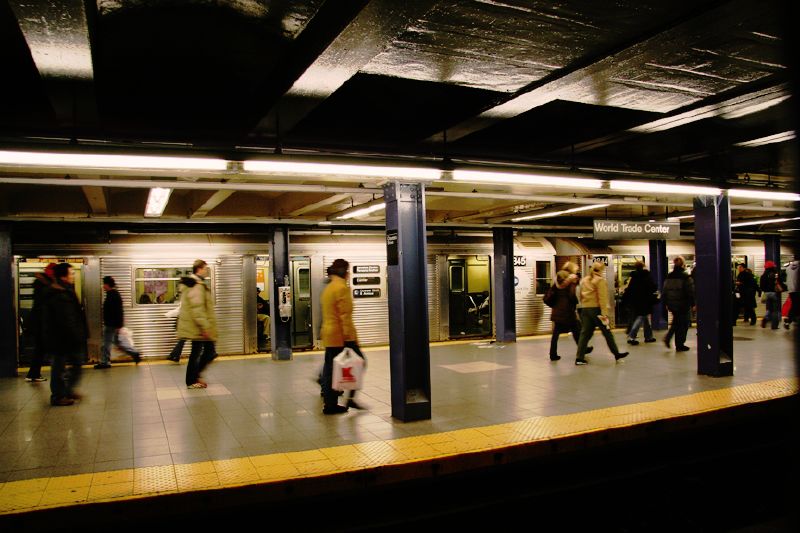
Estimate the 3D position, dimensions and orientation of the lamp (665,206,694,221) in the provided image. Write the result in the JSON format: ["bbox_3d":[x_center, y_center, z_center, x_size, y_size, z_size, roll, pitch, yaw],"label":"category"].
[{"bbox_3d":[8.426,-1.561,16.530,0.938,0.192,0.792,3,-9,-32],"label":"lamp"}]

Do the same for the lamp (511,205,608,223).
[{"bbox_3d":[4.429,-1.599,15.870,2.208,0.395,5.104,-2,1,11],"label":"lamp"}]

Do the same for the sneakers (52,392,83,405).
[{"bbox_3d":[-6.164,2.468,10.246,0.610,0.196,0.182,-4,7,-19],"label":"sneakers"}]

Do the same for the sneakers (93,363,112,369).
[{"bbox_3d":[-7.496,2.506,13.818,0.431,0.137,0.137,4,-5,-15],"label":"sneakers"}]

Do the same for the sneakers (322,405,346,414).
[{"bbox_3d":[-1.100,2.448,9.407,0.473,0.161,0.141,-1,0,-16],"label":"sneakers"}]

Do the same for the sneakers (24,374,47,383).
[{"bbox_3d":[-8.132,2.502,12.286,0.537,0.172,0.172,-1,1,-13],"label":"sneakers"}]

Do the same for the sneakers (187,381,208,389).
[{"bbox_3d":[-4.224,2.501,11.478,0.427,0.119,0.150,-2,-4,10],"label":"sneakers"}]

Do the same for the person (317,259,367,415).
[{"bbox_3d":[-1.007,1.188,9.216,0.704,2.556,0.801,-3,1,-8],"label":"person"}]

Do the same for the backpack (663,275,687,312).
[{"bbox_3d":[6.674,0.614,13.168,0.624,0.749,0.323,-2,1,24],"label":"backpack"}]
